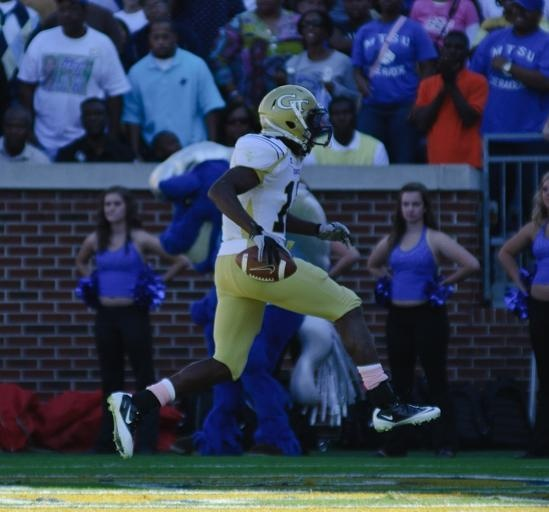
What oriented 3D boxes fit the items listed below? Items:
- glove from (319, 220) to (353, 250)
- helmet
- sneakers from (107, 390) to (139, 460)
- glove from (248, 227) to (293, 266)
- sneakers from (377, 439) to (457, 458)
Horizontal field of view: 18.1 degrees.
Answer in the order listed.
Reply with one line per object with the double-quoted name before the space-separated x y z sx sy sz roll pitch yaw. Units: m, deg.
"glove" 0.384 -0.114 10.735 0.189 0.158 0.204 -3 3 6
"helmet" 0.169 -0.846 10.638 0.497 0.393 0.352 1 4 1
"sneakers" -0.889 1.021 10.323 0.225 0.420 0.148 -13 2 -3
"glove" -0.026 -0.054 10.148 0.067 0.243 0.183 -27 14 29
"sneakers" 0.938 1.303 11.240 0.519 0.061 0.185 -2 3 10
